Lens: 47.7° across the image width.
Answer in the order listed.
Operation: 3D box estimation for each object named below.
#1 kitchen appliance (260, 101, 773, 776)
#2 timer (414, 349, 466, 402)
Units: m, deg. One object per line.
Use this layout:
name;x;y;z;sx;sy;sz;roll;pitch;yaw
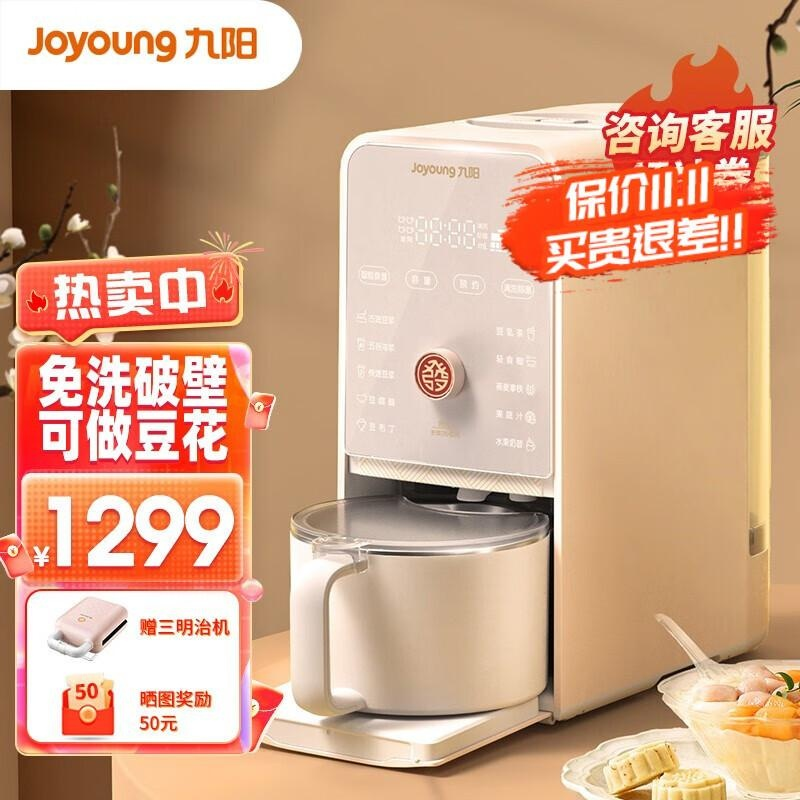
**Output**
kitchen appliance;0.101;0.021;0.776;0.229;0.454;0.504;8;15;39
timer;0.032;-0.020;0.687;0.041;0.039;0.014;2;5;36
